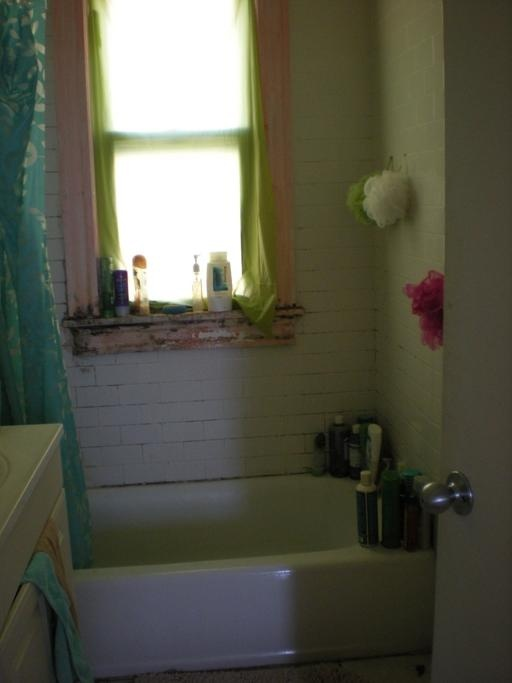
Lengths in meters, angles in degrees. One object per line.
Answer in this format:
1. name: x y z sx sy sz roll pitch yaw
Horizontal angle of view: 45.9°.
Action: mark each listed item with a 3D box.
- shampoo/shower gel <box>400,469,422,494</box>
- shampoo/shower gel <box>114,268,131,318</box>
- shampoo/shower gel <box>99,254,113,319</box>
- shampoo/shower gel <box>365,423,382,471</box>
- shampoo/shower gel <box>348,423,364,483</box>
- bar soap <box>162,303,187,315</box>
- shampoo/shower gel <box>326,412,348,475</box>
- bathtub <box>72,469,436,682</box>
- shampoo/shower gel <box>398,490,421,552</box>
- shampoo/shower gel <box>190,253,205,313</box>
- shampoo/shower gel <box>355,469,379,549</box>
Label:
1. shampoo/shower gel: 0.507 0.460 1.982 0.075 0.061 0.085 1 11 26
2. shampoo/shower gel: -0.581 -0.215 2.677 0.069 0.203 0.129 0 9 20
3. shampoo/shower gel: -0.651 -0.231 2.618 0.064 0.255 0.050 -6 9 -18
4. shampoo/shower gel: 0.502 0.459 2.561 0.056 0.232 0.065 -1 28 8
5. shampoo/shower gel: 0.434 0.499 2.704 0.064 0.218 0.060 2 -3 -6
6. bar soap: -0.353 -0.143 2.696 0.125 0.039 0.096 -7 10 -16
7. shampoo/shower gel: 0.377 0.475 2.752 0.093 0.269 0.088 -3 8 -1
8. bathtub: -0.054 0.850 2.320 1.155 0.426 0.974 -6 10 -13
9. shampoo/shower gel: 0.507 0.588 1.981 0.068 0.198 0.054 -1 8 14
10. shampoo/shower gel: -0.267 -0.262 2.729 0.059 0.251 0.117 -4 8 -5
11. shampoo/shower gel: 0.368 0.548 2.005 0.063 0.263 0.070 -3 17 8
